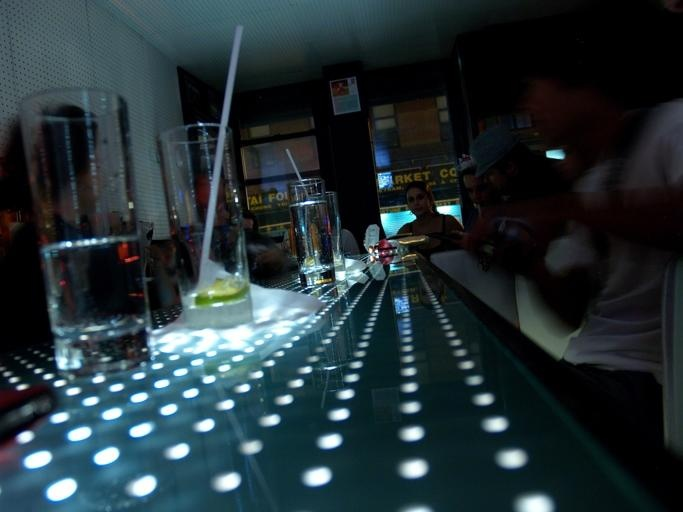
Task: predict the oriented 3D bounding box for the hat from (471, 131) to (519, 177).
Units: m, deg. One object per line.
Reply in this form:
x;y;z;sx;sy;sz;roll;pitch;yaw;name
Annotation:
0.747;-0.518;2.273;0.220;0.116;0.166;-35;18;42;hat
